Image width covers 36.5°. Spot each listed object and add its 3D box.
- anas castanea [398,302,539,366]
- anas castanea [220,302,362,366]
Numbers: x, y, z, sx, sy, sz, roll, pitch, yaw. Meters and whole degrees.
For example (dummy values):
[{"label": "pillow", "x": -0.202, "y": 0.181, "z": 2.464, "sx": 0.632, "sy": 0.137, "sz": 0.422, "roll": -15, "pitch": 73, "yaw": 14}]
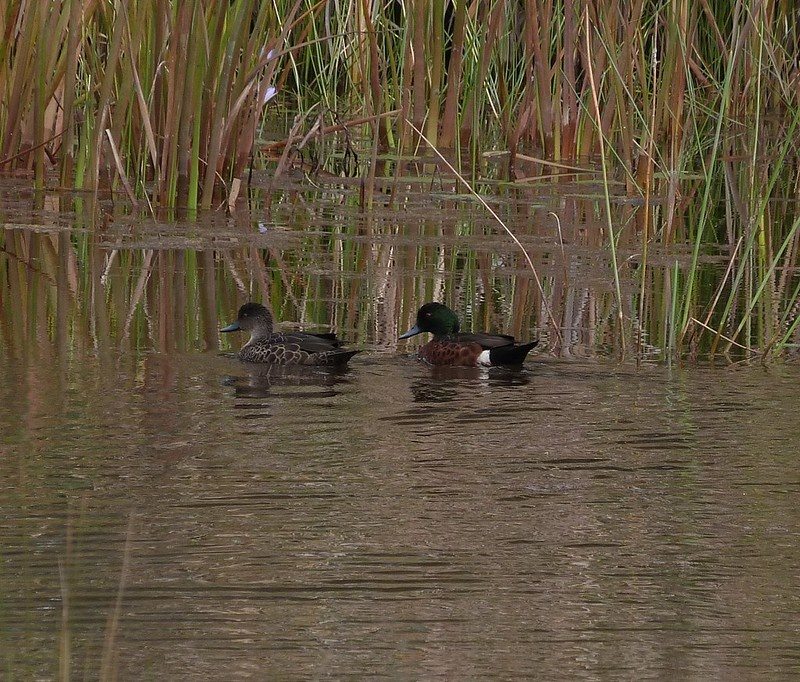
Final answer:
[{"label": "anas castanea", "x": 0.350, "y": -0.003, "z": 6.265, "sx": 0.829, "sy": 0.364, "sz": 0.262, "roll": -1, "pitch": -10, "yaw": 39}, {"label": "anas castanea", "x": -0.574, "y": -0.021, "z": 6.252, "sx": 0.798, "sy": 0.332, "sz": 0.257, "roll": 2, "pitch": 2, "yaw": 29}]
